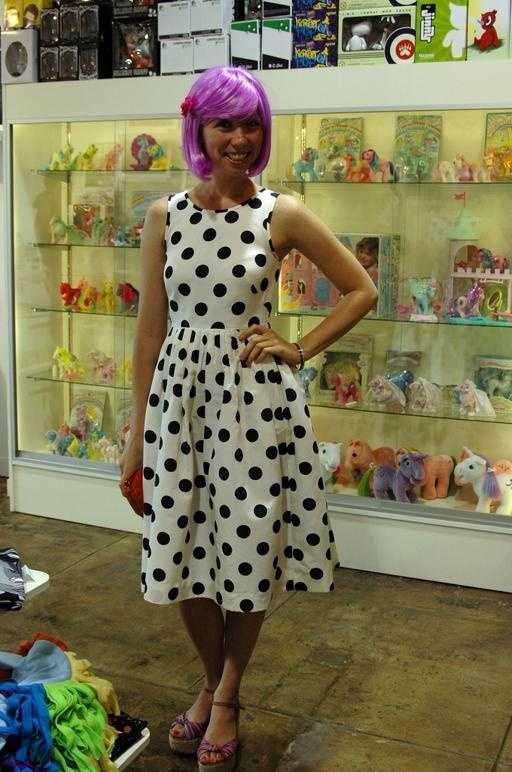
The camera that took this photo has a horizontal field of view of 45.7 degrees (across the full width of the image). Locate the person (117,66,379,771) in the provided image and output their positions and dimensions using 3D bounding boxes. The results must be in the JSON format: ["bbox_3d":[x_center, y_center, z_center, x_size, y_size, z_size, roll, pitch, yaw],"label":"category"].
[{"bbox_3d":[-0.048,-0.063,1.170,0.523,0.984,0.264,2,4,16],"label":"person"}]

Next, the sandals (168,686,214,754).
[{"bbox_3d":[-0.139,0.776,1.422,0.065,0.056,0.212,2,3,14],"label":"sandals"}]
